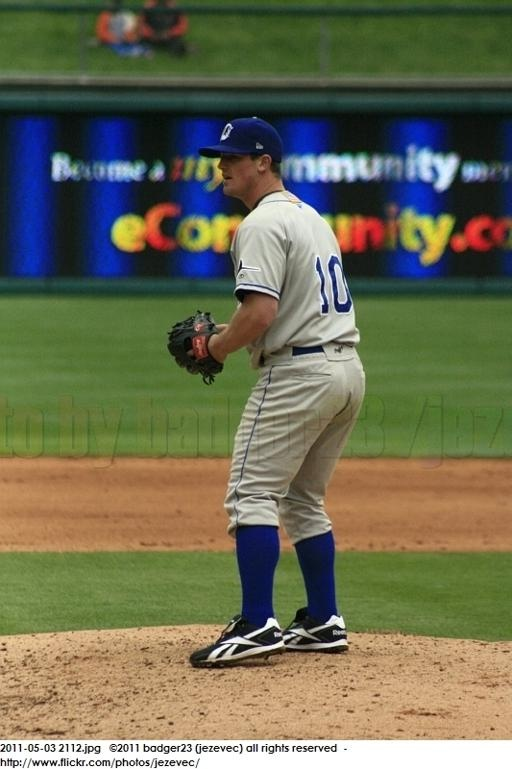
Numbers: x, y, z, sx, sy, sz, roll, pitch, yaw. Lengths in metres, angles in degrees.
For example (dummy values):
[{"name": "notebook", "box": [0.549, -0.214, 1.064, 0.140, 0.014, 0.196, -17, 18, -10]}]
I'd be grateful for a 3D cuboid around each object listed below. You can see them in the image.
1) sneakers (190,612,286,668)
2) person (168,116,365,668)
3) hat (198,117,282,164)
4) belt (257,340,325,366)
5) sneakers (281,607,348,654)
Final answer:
[{"name": "sneakers", "box": [-0.061, 0.875, 4.969, 0.369, 0.196, 0.135, -9, -23, -9]}, {"name": "person", "box": [0.029, 0.013, 5.001, 0.687, 1.852, 0.485, -1, 7, -4]}, {"name": "hat", "box": [-0.058, -0.841, 5.098, 0.248, 0.150, 0.164, 5, 9, -5]}, {"name": "belt", "box": [0.109, -0.099, 4.953, 0.230, 0.073, 0.070, 0, 7, 5]}, {"name": "sneakers", "box": [0.195, 0.874, 5.067, 0.285, 0.147, 0.107, -3, -10, 25]}]
